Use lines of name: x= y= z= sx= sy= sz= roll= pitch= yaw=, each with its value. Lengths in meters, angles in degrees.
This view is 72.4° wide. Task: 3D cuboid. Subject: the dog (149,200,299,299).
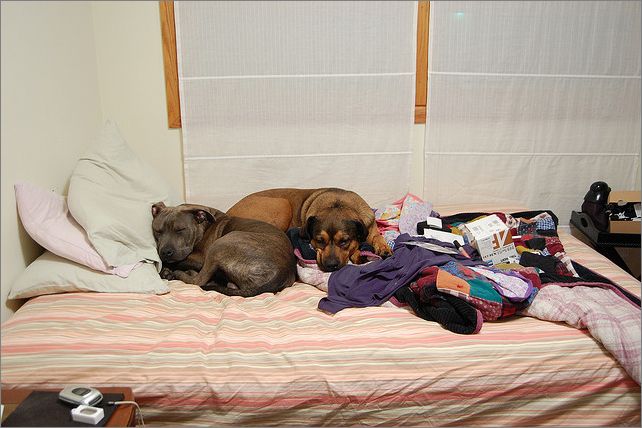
dog: x=-0.752 y=0.207 z=3.453 sx=1.228 sy=0.490 sz=0.888 roll=16 pitch=22 yaw=22

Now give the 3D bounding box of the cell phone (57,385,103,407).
cell phone: x=-1.150 y=0.857 z=2.094 sx=0.149 sy=0.036 sz=0.091 roll=9 pitch=21 yaw=8

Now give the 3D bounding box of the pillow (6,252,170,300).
pillow: x=-1.584 y=0.441 z=2.932 sx=0.523 sy=0.132 sz=0.516 roll=10 pitch=-13 yaw=28
